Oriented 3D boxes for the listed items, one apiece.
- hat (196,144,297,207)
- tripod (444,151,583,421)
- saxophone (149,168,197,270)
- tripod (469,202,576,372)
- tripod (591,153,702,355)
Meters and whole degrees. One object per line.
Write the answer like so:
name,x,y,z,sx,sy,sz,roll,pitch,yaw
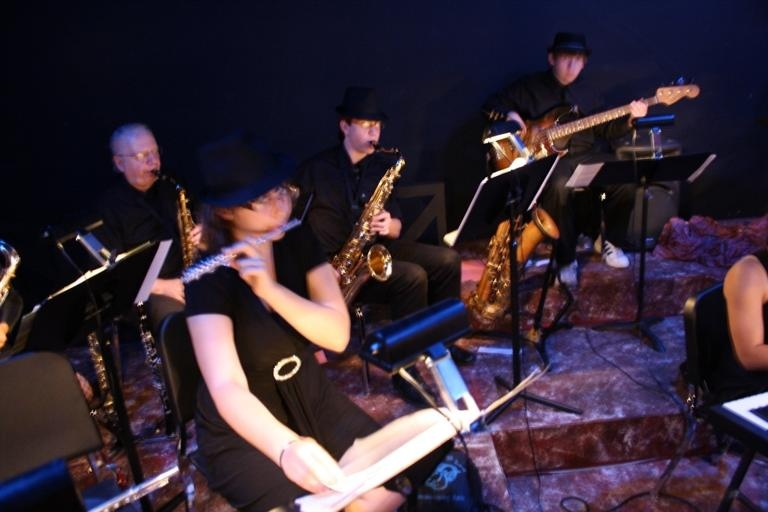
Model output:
hat,-1.027,-0.603,4.225,0.698,0.319,0.815,-17,19,-2
tripod,0.987,0.299,5.357,0.837,2.178,0.995,3,21,7
saxophone,-1.883,-0.298,5.649,0.323,0.836,0.349,20,23,40
tripod,1.220,0.132,6.075,0.912,1.275,0.841,15,23,10
tripod,2.334,-0.038,6.157,0.963,2.035,0.680,1,25,-2
